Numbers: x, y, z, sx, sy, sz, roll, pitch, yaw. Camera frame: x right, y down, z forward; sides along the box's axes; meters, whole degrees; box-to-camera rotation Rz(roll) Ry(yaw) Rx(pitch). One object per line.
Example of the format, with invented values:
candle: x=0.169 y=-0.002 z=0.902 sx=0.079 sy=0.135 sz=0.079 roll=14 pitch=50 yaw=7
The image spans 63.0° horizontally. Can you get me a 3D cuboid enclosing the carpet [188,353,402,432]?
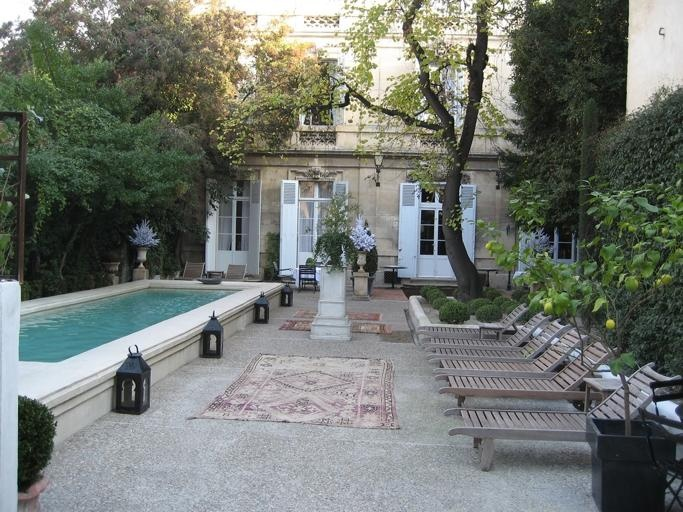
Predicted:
carpet: x=-0.402 y=1.620 z=6.941 sx=2.125 sy=0.060 sz=2.333 roll=2 pitch=7 yaw=3

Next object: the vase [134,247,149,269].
vase: x=-5.508 y=0.018 z=15.338 sx=0.306 sy=0.621 sz=0.542 roll=-1 pitch=7 yaw=-21

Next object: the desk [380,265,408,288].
desk: x=1.721 y=0.639 z=18.198 sx=0.701 sy=0.656 sz=0.656 roll=2 pitch=7 yaw=5

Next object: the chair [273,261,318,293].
chair: x=-1.377 y=0.631 z=17.476 sx=0.898 sy=0.885 sz=1.280 roll=0 pitch=9 yaw=-15

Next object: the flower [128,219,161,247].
flower: x=-5.345 y=-0.573 z=15.168 sx=0.648 sy=0.798 sz=0.877 roll=7 pitch=9 yaw=42

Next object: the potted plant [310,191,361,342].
potted plant: x=-0.154 y=0.172 z=9.864 sx=0.751 sy=2.499 sz=0.909 roll=1 pitch=6 yaw=1

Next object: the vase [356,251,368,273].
vase: x=0.549 y=0.182 z=15.942 sx=0.435 sy=0.557 sz=0.461 roll=-1 pitch=-1 yaw=-3

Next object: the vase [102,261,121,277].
vase: x=-5.900 y=0.315 z=14.443 sx=0.268 sy=0.375 sz=0.646 roll=2 pitch=7 yaw=2

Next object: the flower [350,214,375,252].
flower: x=0.574 y=-0.562 z=15.462 sx=0.843 sy=1.211 sz=0.842 roll=0 pitch=-8 yaw=-9

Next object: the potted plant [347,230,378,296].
potted plant: x=0.613 y=0.142 z=15.926 sx=0.559 sy=1.780 sz=0.637 roll=-1 pitch=-4 yaw=21
